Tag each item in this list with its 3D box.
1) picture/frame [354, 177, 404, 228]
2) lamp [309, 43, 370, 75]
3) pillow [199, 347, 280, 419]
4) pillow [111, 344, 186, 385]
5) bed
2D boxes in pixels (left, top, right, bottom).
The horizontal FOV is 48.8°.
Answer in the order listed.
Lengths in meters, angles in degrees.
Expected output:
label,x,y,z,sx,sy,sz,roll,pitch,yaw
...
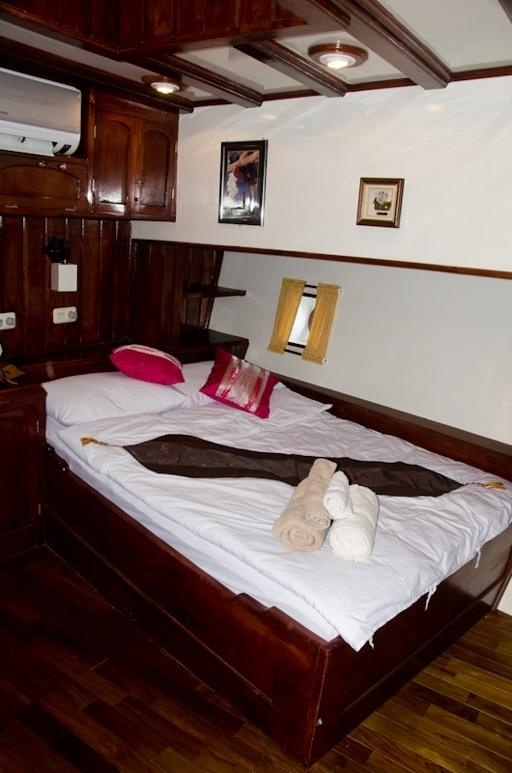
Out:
label,x,y,z,sx,sy,sz,roll,pitch,yaw
picture/frame,0.520,-0.770,2.347,0.195,0.197,0.020,22,27,40
lamp,0.270,-1.090,1.832,0.199,0.059,0.163,7,12,1
pillow,-0.039,-0.041,3.127,0.439,0.454,0.129,21,49,-18
pillow,-0.567,-0.114,2.976,0.260,0.124,0.270,21,15,4
bed,0.367,0.654,2.156,1.198,0.541,1.245,21,26,37
